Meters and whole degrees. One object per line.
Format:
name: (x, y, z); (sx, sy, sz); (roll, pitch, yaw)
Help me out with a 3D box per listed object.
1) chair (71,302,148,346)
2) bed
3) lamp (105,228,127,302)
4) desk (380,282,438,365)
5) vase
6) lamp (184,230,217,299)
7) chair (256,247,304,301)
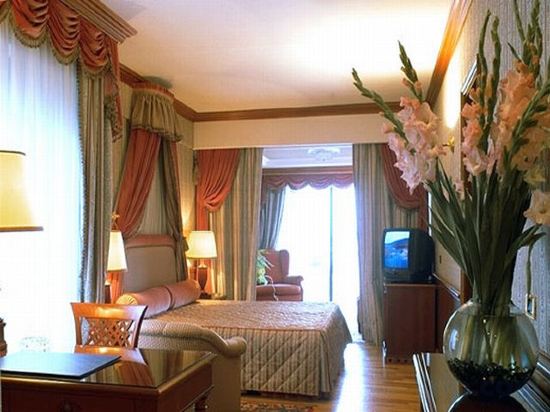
chair: (-1.230, 0.867, 3.401); (0.597, 0.325, 0.205); (-5, -5, 27)
bed: (-0.509, 1.181, 5.516); (2.217, 1.690, 1.608); (-1, -1, 8)
lamp: (-1.678, 0.651, 4.902); (0.177, 0.775, 0.643); (-1, -4, -21)
desk: (1.835, 1.471, 6.448); (0.688, 1.310, 1.275); (0, -7, 10)
vase: (0.839, 0.548, 1.905); (0.314, 0.357, 0.339); (1, -1, 5)
lamp: (-1.076, 0.838, 6.827); (0.407, 0.981, 0.437); (0, 4, 4)
chair: (0.109, 1.414, 9.527); (0.889, 1.352, 0.902); (1, -8, -17)
